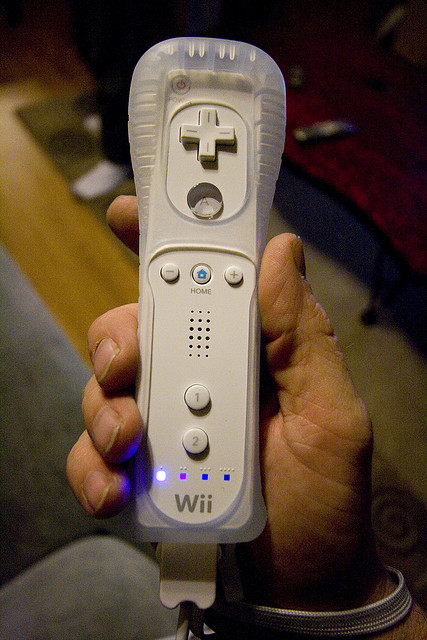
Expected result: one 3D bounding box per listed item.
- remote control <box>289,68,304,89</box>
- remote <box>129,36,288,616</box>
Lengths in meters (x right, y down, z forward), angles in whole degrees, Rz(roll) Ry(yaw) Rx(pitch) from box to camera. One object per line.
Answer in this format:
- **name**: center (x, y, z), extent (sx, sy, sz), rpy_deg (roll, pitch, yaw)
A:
- **remote control**: center (0.143, -0.419, 1.139), extent (0.031, 0.047, 0.026), rpy_deg (4, 28, 13)
- **remote**: center (-0.027, -0.013, 0.837), extent (0.207, 0.726, 0.091), rpy_deg (3, -12, 3)
